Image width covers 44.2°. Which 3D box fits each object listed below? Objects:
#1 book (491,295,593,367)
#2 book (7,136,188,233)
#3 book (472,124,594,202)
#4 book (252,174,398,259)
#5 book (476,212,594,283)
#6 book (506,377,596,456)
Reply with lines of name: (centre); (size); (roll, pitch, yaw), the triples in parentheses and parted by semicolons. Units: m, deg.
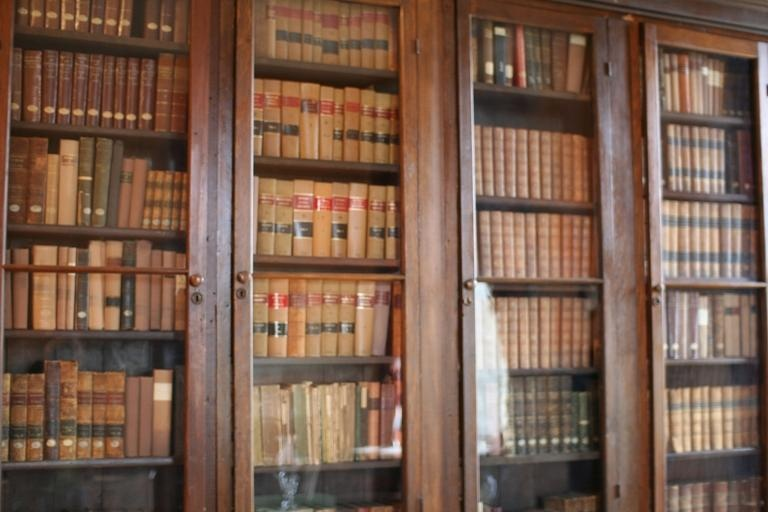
book: (0.730, 0.353, 4.344); (0.474, 0.317, 0.081); (1, -11, -14)
book: (-1.201, -0.303, 3.981); (0.713, 0.389, 0.067); (0, -11, -8)
book: (0.687, -0.421, 4.395); (0.434, 0.141, 0.400); (1, -3, -15)
book: (-0.251, -0.195, 4.175); (0.667, 0.341, 0.335); (1, 10, -8)
book: (0.666, -0.016, 4.470); (0.571, 0.499, 0.312); (1, -8, -10)
book: (0.744, 0.757, 4.333); (0.369, 0.327, 0.190); (1, -6, -7)
